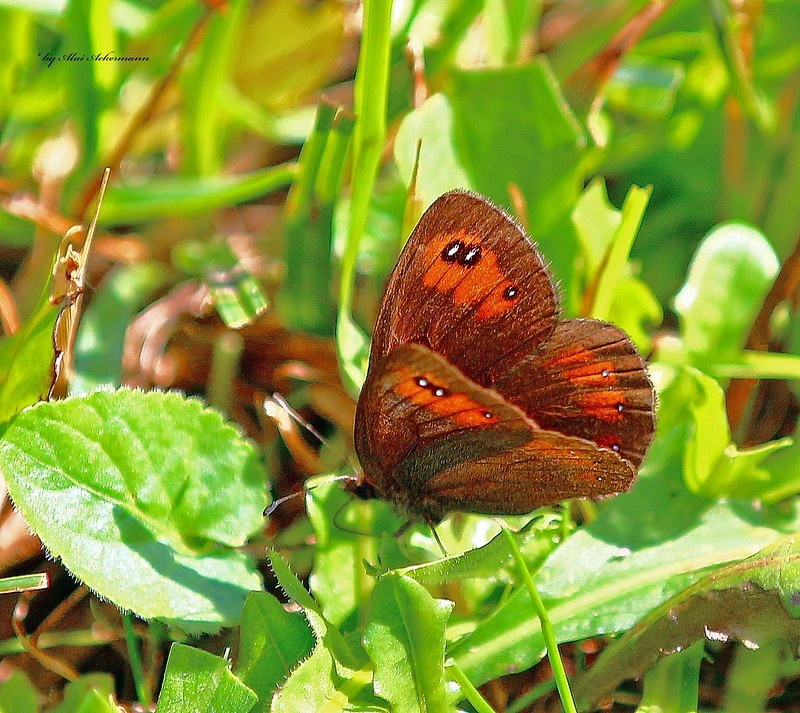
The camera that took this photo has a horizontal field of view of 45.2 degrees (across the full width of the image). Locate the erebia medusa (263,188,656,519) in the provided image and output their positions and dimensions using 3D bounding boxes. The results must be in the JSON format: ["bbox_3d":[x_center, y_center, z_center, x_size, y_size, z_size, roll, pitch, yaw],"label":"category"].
[{"bbox_3d":[0.154,0.033,1.528,0.500,0.558,0.203,7,38,11],"label":"erebia medusa"}]
